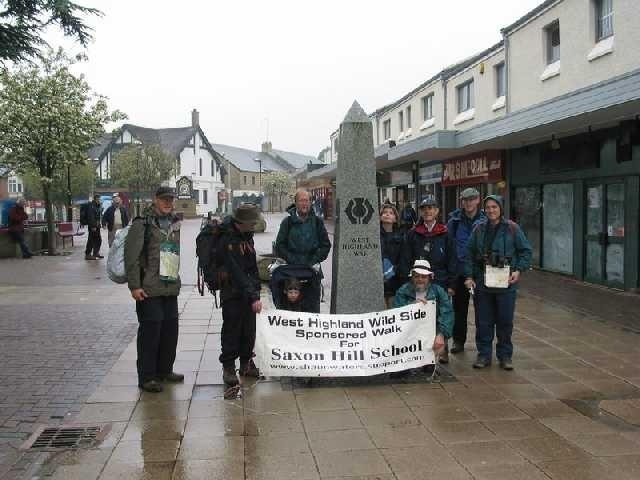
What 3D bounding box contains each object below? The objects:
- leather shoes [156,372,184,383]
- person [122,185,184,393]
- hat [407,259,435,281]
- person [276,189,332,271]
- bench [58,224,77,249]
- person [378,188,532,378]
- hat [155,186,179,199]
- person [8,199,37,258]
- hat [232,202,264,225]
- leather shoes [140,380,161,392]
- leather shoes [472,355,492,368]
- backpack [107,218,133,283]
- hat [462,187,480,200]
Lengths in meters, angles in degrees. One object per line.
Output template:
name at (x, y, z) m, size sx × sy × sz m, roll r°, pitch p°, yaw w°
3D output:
leather shoes at (-1.845, 1.700, 7.752) m, size 0.324 × 0.145 × 0.114 m, roll -2°, pitch 1°, yaw -5°
person at (-1.969, 0.563, 7.628) m, size 0.572 × 2.351 × 0.791 m, roll 5°, pitch 11°, yaw 30°
hat at (1.279, 0.379, 7.976) m, size 0.253 × 0.266 × 0.414 m, roll -1°, pitch 10°, yaw -3°
person at (-0.234, -0.132, 8.142) m, size 0.694 × 1.025 × 0.486 m, roll -1°, pitch 10°, yaw -3°
bench at (-9.976, -0.118, 24.734) m, size 0.349 × 0.633 × 0.986 m, roll 1°, pitch 2°, yaw -3°
person at (2.193, 0.491, 8.359) m, size 1.048 × 2.256 × 0.942 m, roll 8°, pitch 13°, yaw 42°
hat at (-1.925, -0.590, 7.696) m, size 0.157 × 0.108 × 0.210 m, roll 1°, pitch -9°, yaw -44°
person at (-9.163, -0.322, 19.117) m, size 0.594 × 1.921 × 1.345 m, roll -5°, pitch 11°, yaw -27°
hat at (-0.837, -0.283, 7.550) m, size 0.307 × 0.123 × 0.267 m, roll -6°, pitch 27°, yaw -27°
leather shoes at (-2.001, 1.715, 7.426) m, size 0.214 × 0.093 × 0.119 m, roll -2°, pitch 3°, yaw 22°
leather shoes at (2.099, 1.579, 8.145) m, size 0.104 × 0.140 × 0.318 m, roll -4°, pitch -14°, yaw 41°
backpack at (-2.416, 0.208, 7.542) m, size 0.271 × 0.715 × 0.326 m, roll -3°, pitch 10°, yaw -18°
hat at (2.108, -0.635, 8.776) m, size 0.332 × 0.182 × 0.493 m, roll 0°, pitch 6°, yaw 24°
